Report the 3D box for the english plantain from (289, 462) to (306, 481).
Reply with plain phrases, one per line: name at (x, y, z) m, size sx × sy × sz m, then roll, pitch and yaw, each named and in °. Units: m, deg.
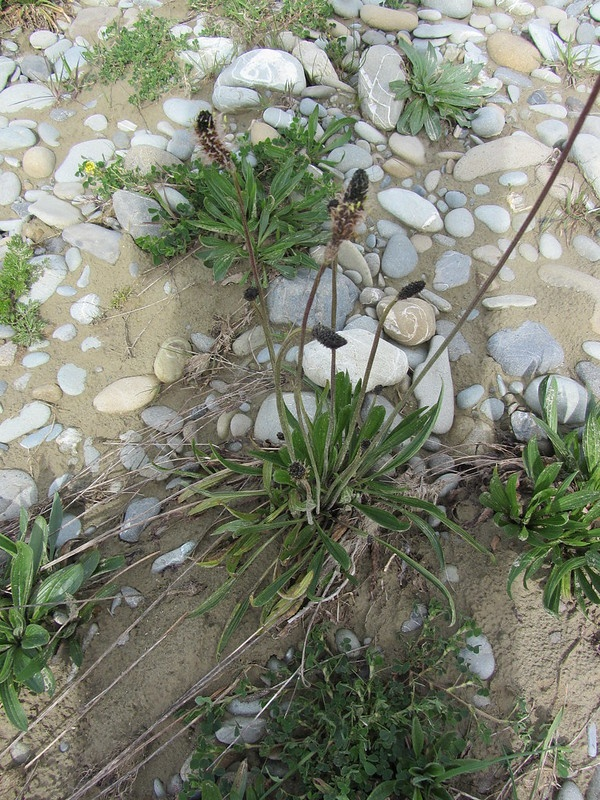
english plantain at (-0.016, 0.214, 1.982) m, size 0.054 × 0.029 × 0.050 m, roll 42°, pitch 72°, yaw -7°
